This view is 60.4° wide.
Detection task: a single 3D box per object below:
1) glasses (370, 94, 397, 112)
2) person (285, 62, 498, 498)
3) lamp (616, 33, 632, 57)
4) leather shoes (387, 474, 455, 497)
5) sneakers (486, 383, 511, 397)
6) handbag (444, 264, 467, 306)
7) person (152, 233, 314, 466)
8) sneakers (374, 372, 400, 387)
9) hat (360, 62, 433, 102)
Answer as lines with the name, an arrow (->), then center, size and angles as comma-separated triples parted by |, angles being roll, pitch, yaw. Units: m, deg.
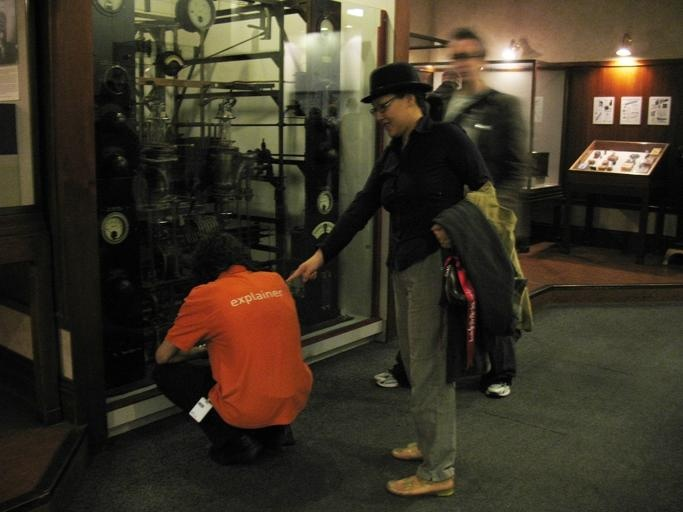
glasses -> 0.199, -0.695, 2.656 | 0.075, 0.022, 0.072 | -33, 16, -26
person -> 0.273, 0.117, 2.794 | 0.726, 1.976, 0.439 | 11, 18, 39
lamp -> 3.494, -2.576, 7.206 | 0.172, 0.250, 0.285 | 6, 10, 30
leather shoes -> 0.374, 1.061, 2.808 | 0.315, 0.130, 0.114 | 4, 0, 5
sneakers -> 1.000, 0.845, 3.710 | 0.133, 0.059, 0.076 | -1, 13, 8
handbag -> 0.497, 0.123, 2.517 | 0.085, 0.194, 0.184 | -1, 0, 30
person -> -0.602, 0.529, 3.063 | 0.887, 1.214, 0.699 | -12, 23, -30
sneakers -> 0.304, 0.823, 3.890 | 0.119, 0.041, 0.088 | 7, 4, -21
hat -> 0.239, -0.775, 2.637 | 0.244, 0.088, 0.206 | -15, 9, -11
